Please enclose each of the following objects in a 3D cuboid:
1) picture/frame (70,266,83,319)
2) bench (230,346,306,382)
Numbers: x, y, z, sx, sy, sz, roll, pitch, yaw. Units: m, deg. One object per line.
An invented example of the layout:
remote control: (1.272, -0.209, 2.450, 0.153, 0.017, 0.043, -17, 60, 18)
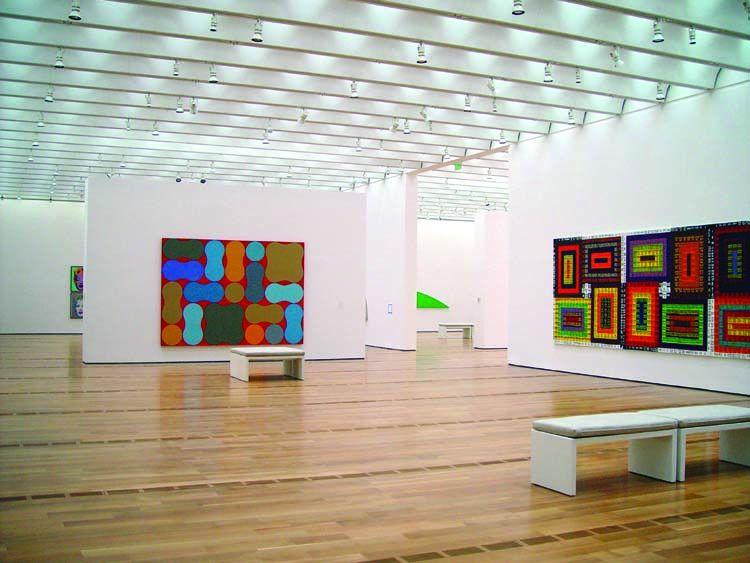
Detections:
picture/frame: (-13.022, 0.434, 23.850, 0.505, 2.276, 0.248, -1, -1, 3)
bench: (-2.290, 1.721, 11.618, 1.469, 0.653, 1.197, 0, -2, -17)
